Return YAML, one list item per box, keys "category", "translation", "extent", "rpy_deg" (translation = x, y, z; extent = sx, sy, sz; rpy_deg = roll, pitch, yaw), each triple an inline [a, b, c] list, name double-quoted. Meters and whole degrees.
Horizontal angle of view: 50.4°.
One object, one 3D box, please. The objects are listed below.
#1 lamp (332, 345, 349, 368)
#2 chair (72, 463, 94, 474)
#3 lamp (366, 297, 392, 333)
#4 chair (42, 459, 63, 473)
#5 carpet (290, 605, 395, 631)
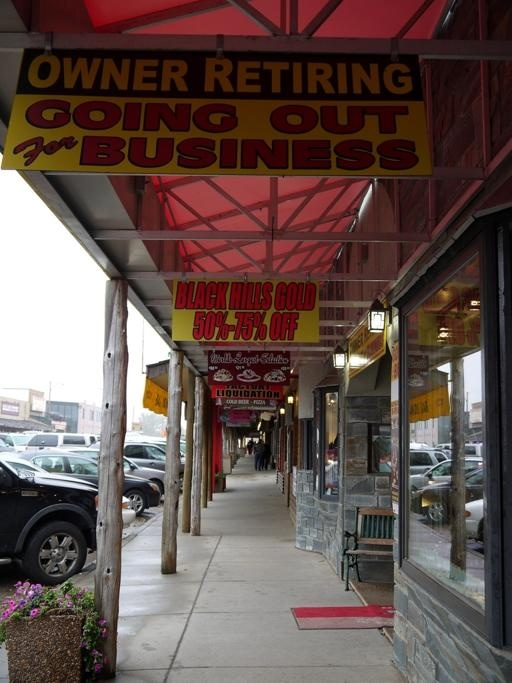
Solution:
- category: "lamp"
  translation: [1.288, 0.235, 8.291]
  extent: [0.291, 0.441, 0.299]
  rpy_deg: [1, -2, -15]
- category: "chair"
  translation: [-4.201, 3.054, 13.203]
  extent: [0.530, 0.223, 0.214]
  rpy_deg: [4, -10, -9]
- category: "lamp"
  translation: [1.161, -0.259, 5.367]
  extent: [0.282, 0.465, 0.277]
  rpy_deg: [0, -6, 7]
- category: "chair"
  translation: [-4.934, 2.944, 13.138]
  extent: [0.307, 0.326, 0.529]
  rpy_deg: [-5, -13, 35]
- category: "carpet"
  translation: [1.030, 3.182, 6.352]
  extent: [1.218, 0.069, 0.993]
  rpy_deg: [2, -11, -3]
